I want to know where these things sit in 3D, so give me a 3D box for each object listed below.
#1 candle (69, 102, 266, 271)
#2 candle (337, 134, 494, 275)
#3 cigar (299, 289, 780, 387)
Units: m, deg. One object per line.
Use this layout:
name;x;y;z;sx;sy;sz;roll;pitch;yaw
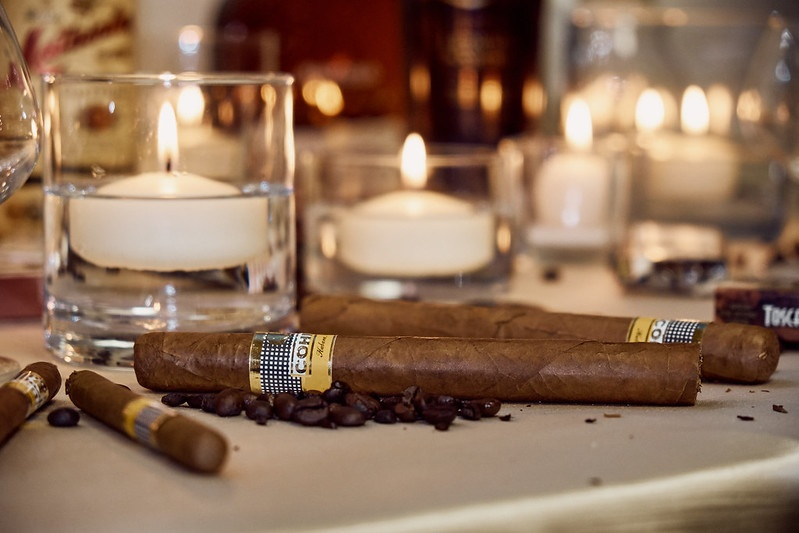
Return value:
candle;-0.242;-0.084;0.841;0.190;0.143;0.177;0;5;-6
candle;0.017;-0.063;0.939;0.200;0.145;0.186;0;6;0
cigar;0.125;0.071;0.756;0.383;0.055;0.066;3;17;18
